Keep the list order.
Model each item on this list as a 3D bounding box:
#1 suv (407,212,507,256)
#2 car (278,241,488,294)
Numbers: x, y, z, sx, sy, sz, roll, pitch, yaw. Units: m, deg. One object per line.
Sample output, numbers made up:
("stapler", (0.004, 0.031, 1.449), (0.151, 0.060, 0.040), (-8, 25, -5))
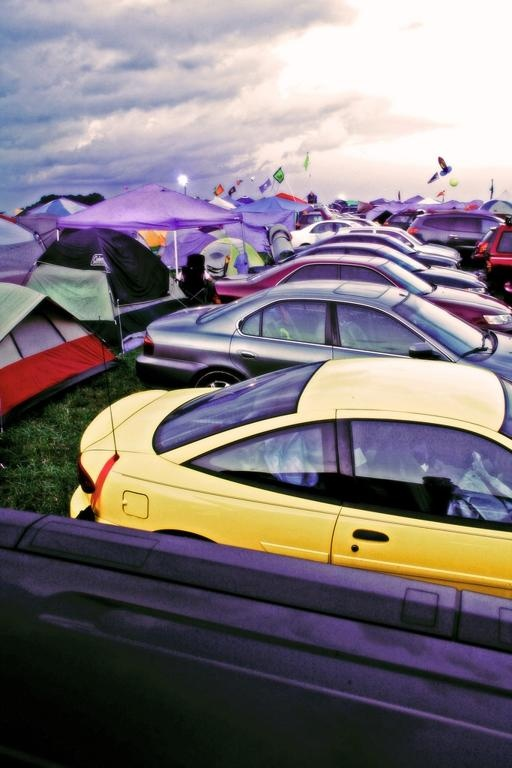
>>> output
("suv", (5.315, -3.962, 15.454), (2.335, 0.941, 1.096), (0, 41, 13))
("car", (1.894, -1.807, 8.954), (3.230, 1.020, 1.248), (0, 27, 7))
